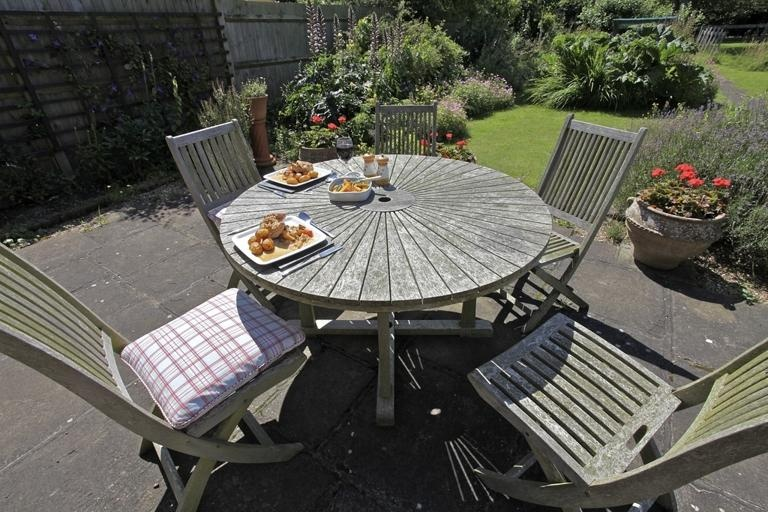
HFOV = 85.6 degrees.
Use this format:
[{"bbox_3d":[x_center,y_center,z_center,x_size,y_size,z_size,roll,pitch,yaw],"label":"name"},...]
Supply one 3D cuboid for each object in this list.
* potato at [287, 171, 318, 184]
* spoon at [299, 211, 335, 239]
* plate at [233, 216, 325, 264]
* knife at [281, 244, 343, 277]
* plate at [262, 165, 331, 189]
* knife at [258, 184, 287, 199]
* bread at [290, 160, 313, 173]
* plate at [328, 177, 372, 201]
[{"bbox_3d":[-0.687,-0.654,3.481,0.232,0.083,0.110,-12,32,-8],"label":"potato"},{"bbox_3d":[-0.482,-0.210,2.952,0.286,0.042,0.065,38,62,7],"label":"spoon"},{"bbox_3d":[-0.670,-0.074,2.782,0.425,0.044,0.415,-23,39,-23],"label":"plate"},{"bbox_3d":[-0.439,0.035,2.809,0.537,0.028,0.140,-27,57,-26],"label":"knife"},{"bbox_3d":[-0.800,-0.669,3.486,0.336,0.038,0.336,22,42,33],"label":"plate"},{"bbox_3d":[-0.912,-0.518,3.376,0.258,0.061,0.020,28,18,16],"label":"knife"},{"bbox_3d":[-0.723,-0.769,3.560,0.116,0.058,0.147,-2,17,-24],"label":"bread"},{"bbox_3d":[-0.278,-0.512,3.259,0.257,0.082,0.221,4,42,5],"label":"plate"}]
